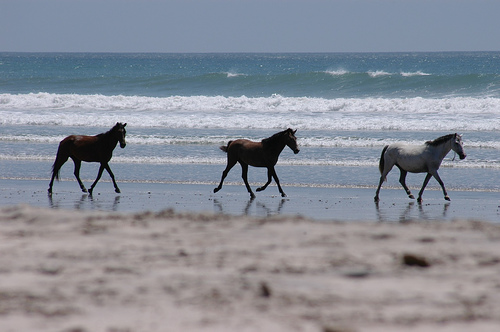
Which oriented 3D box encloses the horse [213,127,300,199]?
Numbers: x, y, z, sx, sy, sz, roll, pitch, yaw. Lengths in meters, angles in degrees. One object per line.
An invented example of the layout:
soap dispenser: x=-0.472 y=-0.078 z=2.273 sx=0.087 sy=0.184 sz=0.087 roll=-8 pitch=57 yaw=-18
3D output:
horse: x=0.276 y=-0.097 z=29.872 sx=3.196 sy=2.283 sz=0.772 roll=2 pitch=-2 yaw=35
